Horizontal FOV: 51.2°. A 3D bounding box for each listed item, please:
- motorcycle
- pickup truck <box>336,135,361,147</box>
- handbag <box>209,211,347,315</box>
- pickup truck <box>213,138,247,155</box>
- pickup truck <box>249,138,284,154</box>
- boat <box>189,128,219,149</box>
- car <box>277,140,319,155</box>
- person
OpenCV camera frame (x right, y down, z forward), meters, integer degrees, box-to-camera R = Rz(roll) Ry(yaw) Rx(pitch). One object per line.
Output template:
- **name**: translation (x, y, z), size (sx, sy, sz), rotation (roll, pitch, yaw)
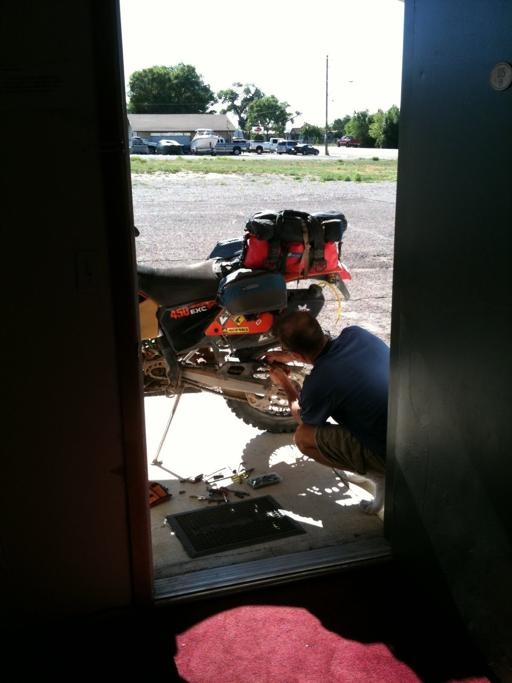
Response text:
- **motorcycle**: translation (-0.111, -0.208, 3.288), size (1.689, 1.141, 0.887), rotation (-2, 12, -3)
- **pickup truck**: translation (6.803, -14.520, 39.095), size (1.103, 0.695, 1.673), rotation (-1, 33, -7)
- **handbag**: translation (0.138, -0.486, 3.079), size (0.698, 0.435, 0.602), rotation (3, 52, 0)
- **pickup truck**: translation (-1.505, -11.408, 31.339), size (1.990, 0.787, 0.904), rotation (-4, 24, -16)
- **pickup truck**: translation (0.571, -12.514, 34.681), size (2.308, 0.862, 1.214), rotation (-11, 28, -20)
- **boat**: translation (-2.986, -11.402, 30.028), size (0.970, 0.991, 3.313), rotation (0, 18, -7)
- **car**: translation (2.663, -12.494, 35.096), size (2.465, 0.828, 1.206), rotation (3, 35, 6)
- **person**: translation (0.382, 0.354, 2.608), size (0.618, 0.975, 0.421), rotation (7, 14, 26)
